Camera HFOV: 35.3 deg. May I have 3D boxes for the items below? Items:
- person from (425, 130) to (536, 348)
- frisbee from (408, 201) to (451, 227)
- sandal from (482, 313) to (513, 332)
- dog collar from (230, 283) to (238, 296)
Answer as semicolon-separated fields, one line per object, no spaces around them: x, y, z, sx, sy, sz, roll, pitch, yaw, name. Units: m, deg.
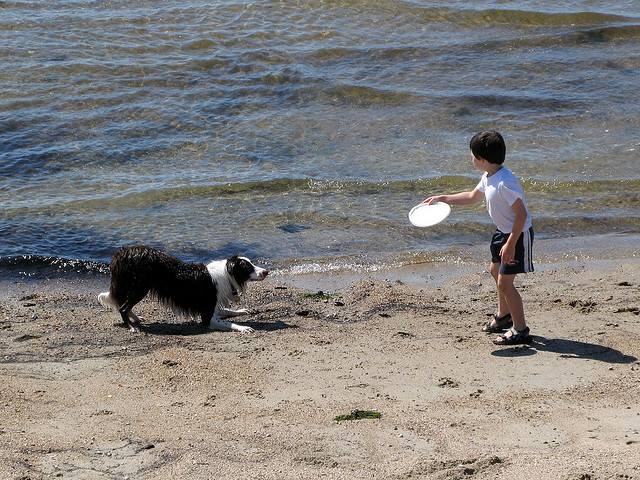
2.574;-0.022;14.228;0.585;3.060;1.028;-10;14;-22;person
1.605;-0.391;14.928;0.673;0.374;0.368;5;14;36;frisbee
2.649;1.208;14.604;0.501;0.146;0.176;-11;18;26;sandal
-1.321;0.790;15.717;0.047;0.152;0.145;-29;38;-2;dog collar
